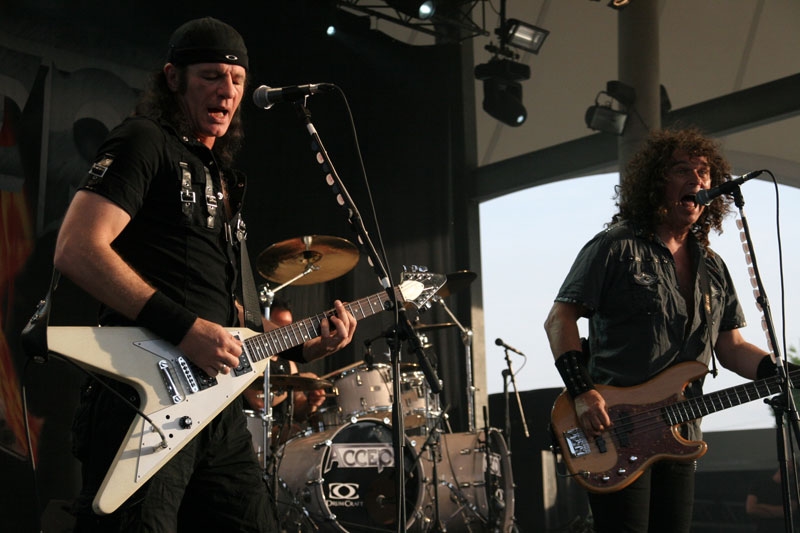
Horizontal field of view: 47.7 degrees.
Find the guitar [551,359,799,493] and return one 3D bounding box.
[{"bbox_3d":[2.003,1.135,6.524,1.280,0.504,1.220,-13,-7,4],"label":"guitar"}]

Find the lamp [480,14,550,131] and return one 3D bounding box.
[{"bbox_3d":[1.245,-2.151,9.957,0.785,1.233,0.716,-1,2,26],"label":"lamp"}]

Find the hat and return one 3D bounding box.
[{"bbox_3d":[-1.251,-1.395,5.821,0.373,0.238,0.362,0,0,-18],"label":"hat"}]

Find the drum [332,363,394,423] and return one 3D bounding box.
[{"bbox_3d":[-0.308,1.102,7.875,0.510,0.378,0.500,-22,-27,-12],"label":"drum"}]

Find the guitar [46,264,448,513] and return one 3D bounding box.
[{"bbox_3d":[-1.006,0.613,5.642,2.753,1.002,0.348,-20,15,-22],"label":"guitar"}]
